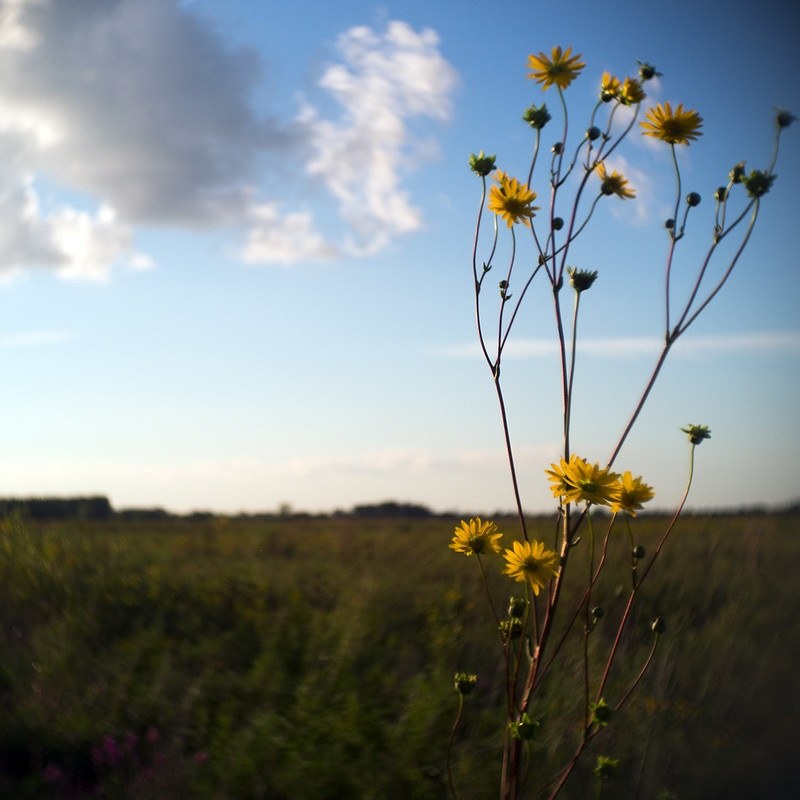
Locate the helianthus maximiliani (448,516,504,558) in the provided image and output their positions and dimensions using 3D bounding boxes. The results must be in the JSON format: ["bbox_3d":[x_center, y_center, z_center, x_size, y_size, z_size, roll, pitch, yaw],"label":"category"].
[{"bbox_3d":[0.246,0.445,2.945,0.150,0.134,0.265,0,-4,9],"label":"helianthus maximiliani"}]

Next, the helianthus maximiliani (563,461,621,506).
[{"bbox_3d":[0.564,0.243,2.695,0.149,0.136,0.088,-1,-4,16],"label":"helianthus maximiliani"}]

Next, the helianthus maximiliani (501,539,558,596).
[{"bbox_3d":[0.402,0.526,2.839,0.156,0.166,0.097,0,-4,5],"label":"helianthus maximiliani"}]
